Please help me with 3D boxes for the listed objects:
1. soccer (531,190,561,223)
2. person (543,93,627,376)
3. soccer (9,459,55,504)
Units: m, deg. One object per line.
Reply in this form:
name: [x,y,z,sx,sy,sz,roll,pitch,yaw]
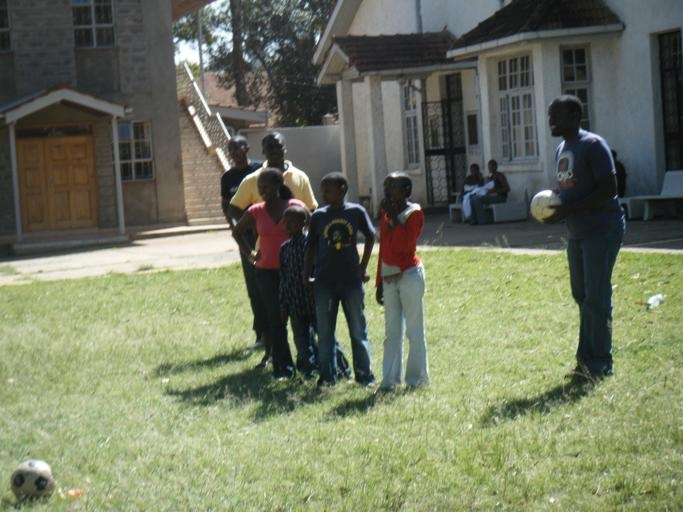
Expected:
soccer: [1.820,-0.469,6.955,0.218,0.340,0.261,5,8,4]
person: [2.177,-0.182,6.899,0.623,2.460,0.531,5,11,35]
soccer: [-2.198,1.600,5.528,0.227,0.350,0.256,-3,-13,-8]
